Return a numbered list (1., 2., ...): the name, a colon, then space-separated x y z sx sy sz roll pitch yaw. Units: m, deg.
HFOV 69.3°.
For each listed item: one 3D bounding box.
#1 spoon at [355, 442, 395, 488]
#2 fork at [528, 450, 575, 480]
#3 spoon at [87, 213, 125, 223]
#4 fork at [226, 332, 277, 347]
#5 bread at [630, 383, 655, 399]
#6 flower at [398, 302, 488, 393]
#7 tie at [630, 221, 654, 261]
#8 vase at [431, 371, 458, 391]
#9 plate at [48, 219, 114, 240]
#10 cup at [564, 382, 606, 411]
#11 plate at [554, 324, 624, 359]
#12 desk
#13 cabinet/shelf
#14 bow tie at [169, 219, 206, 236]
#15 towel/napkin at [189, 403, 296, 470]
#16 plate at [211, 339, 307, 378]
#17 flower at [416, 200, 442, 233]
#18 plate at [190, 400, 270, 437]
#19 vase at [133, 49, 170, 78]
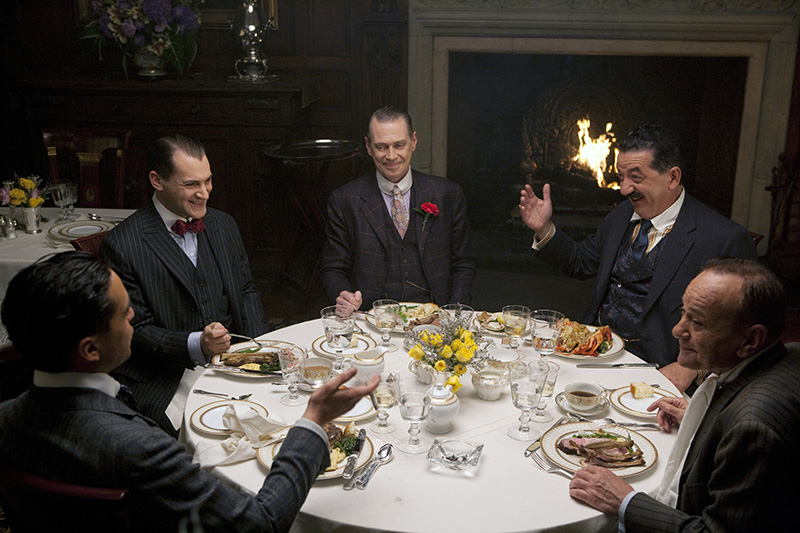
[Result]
1. spoon: -0.083 0.655 1.905 0.046 0.036 0.240 22 25 8
2. fork: 0.501 0.661 1.914 0.022 0.023 0.153 -23 31 -35
3. spoon: -2.015 -0.332 3.951 0.151 0.017 0.148 5 14 1
4. fork: -0.699 0.345 2.744 0.292 0.033 0.038 15 9 -11
5. bread: 0.940 0.474 2.260 0.062 0.025 0.065 -10 18 -34
6. flower: 0.171 0.308 2.265 0.308 0.309 0.303 0 -1 -15
7. tie: 1.321 -0.137 3.162 0.073 0.240 0.058 12 -23 30
8. vase: 0.163 0.419 2.118 0.064 0.051 0.098 -4 3 -29
9. plate: -2.053 -0.235 3.703 0.290 0.031 0.283 -10 24 -29
10. cup: 0.712 0.492 2.212 0.125 0.053 0.098 -2 17 -9
11. plate: 0.842 0.340 2.598 0.189 0.051 0.196 4 15 26
12. desk: -0.848 -0.546 5.136 1.139 1.310 1.029 1 17 -1
13. cabinet/shelf: -1.811 -0.397 5.448 2.463 2.214 0.963 -1 8 -1
14. bow tie: -1.093 -0.223 2.962 0.106 0.039 0.106 5 24 36
15. towel/napkin: -0.598 0.578 2.043 0.215 0.077 0.254 -6 14 -33
16. plate: -0.626 0.398 2.461 0.234 0.026 0.228 -11 24 -34
17. flower: 0.154 -0.321 3.589 0.157 0.173 0.101 24 16 -17
18. plate: -0.677 0.549 2.156 0.165 0.022 0.165 17 23 35
19. vase: -2.219 -1.755 5.080 0.258 0.244 0.257 5 14 20
